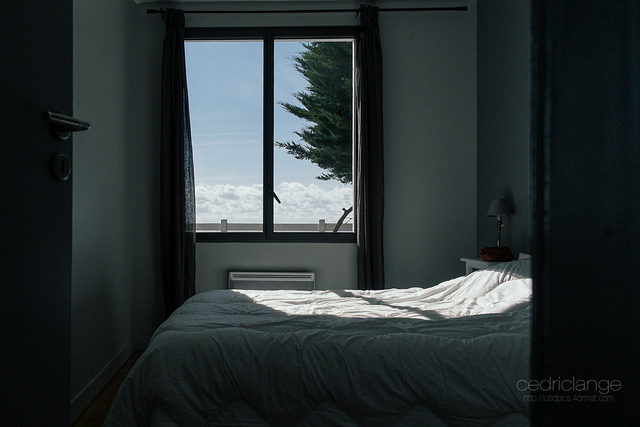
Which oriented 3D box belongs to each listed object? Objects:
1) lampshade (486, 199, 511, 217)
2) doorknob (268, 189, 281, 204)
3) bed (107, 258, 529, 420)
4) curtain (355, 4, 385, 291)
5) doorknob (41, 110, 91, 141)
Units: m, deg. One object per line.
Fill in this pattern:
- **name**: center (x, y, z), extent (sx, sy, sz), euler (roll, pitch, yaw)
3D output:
- **lampshade**: center (1.199, -0.040, 3.597), extent (0.128, 0.079, 0.115), euler (-5, 4, -43)
- **doorknob**: center (-0.363, -0.147, 4.220), extent (0.042, 0.163, 0.038), euler (-41, 4, -37)
- **bed**: center (0.118, 0.560, 2.568), extent (1.714, 0.294, 1.369), euler (1, 15, 15)
- **curtain**: center (0.369, -0.511, 4.041), extent (0.225, 2.071, 0.629), euler (-2, 14, 6)
- **doorknob**: center (-0.834, -0.288, 1.750), extent (0.047, 0.055, 0.139), euler (-17, -15, 28)
